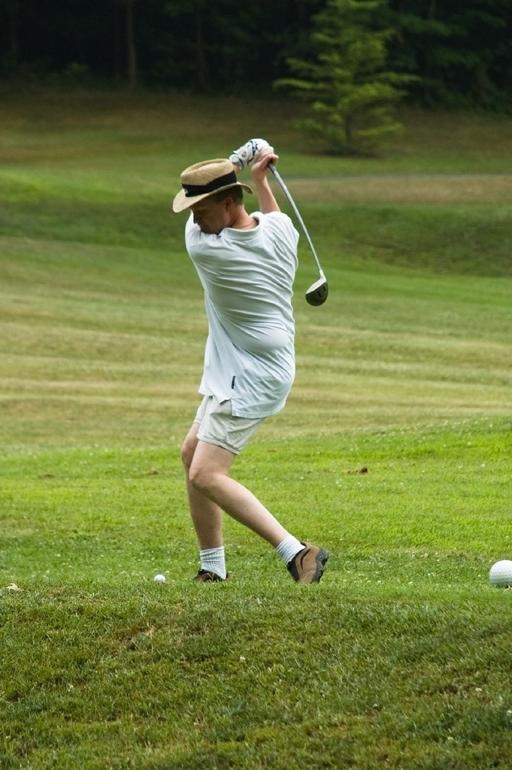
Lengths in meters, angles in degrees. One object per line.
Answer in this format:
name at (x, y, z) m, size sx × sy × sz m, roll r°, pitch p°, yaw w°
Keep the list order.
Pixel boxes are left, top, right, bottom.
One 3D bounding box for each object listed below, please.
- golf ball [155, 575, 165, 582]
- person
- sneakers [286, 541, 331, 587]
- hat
golf ball at (-0.400, 0.777, 5.013) m, size 0.028 × 0.017 × 0.026 m, roll 0°, pitch 2°, yaw 0°
person at (-0.036, -0.046, 4.769) m, size 0.561 × 1.730 × 0.544 m, roll 0°, pitch 10°, yaw -1°
sneakers at (0.181, 0.677, 4.715) m, size 0.123 × 0.074 × 0.221 m, roll 5°, pitch -24°, yaw 1°
hat at (-0.177, -0.740, 4.604) m, size 0.278 × 0.190 × 0.246 m, roll -1°, pitch 9°, yaw -3°
